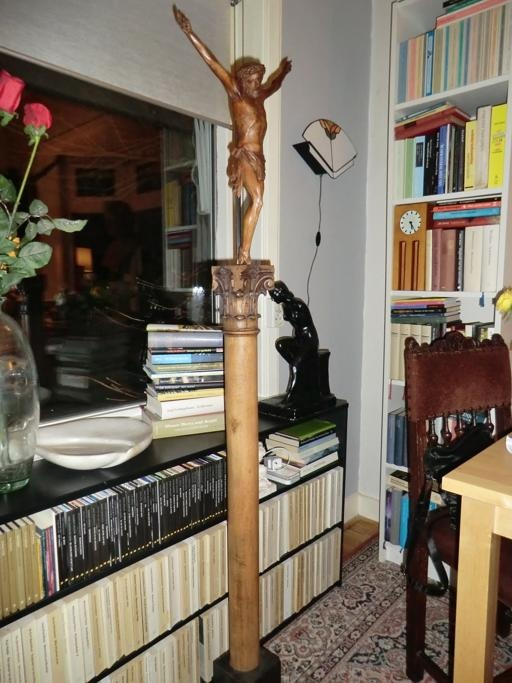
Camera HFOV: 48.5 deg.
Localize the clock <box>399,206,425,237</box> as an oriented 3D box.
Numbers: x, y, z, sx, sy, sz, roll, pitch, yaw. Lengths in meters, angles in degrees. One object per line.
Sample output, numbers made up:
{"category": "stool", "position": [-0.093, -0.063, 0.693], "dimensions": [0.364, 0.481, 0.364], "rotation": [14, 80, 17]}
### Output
{"category": "clock", "position": [0.595, -0.453, 2.154], "dimensions": [0.008, 0.112, 0.115], "rotation": [-9, 15, -38]}
